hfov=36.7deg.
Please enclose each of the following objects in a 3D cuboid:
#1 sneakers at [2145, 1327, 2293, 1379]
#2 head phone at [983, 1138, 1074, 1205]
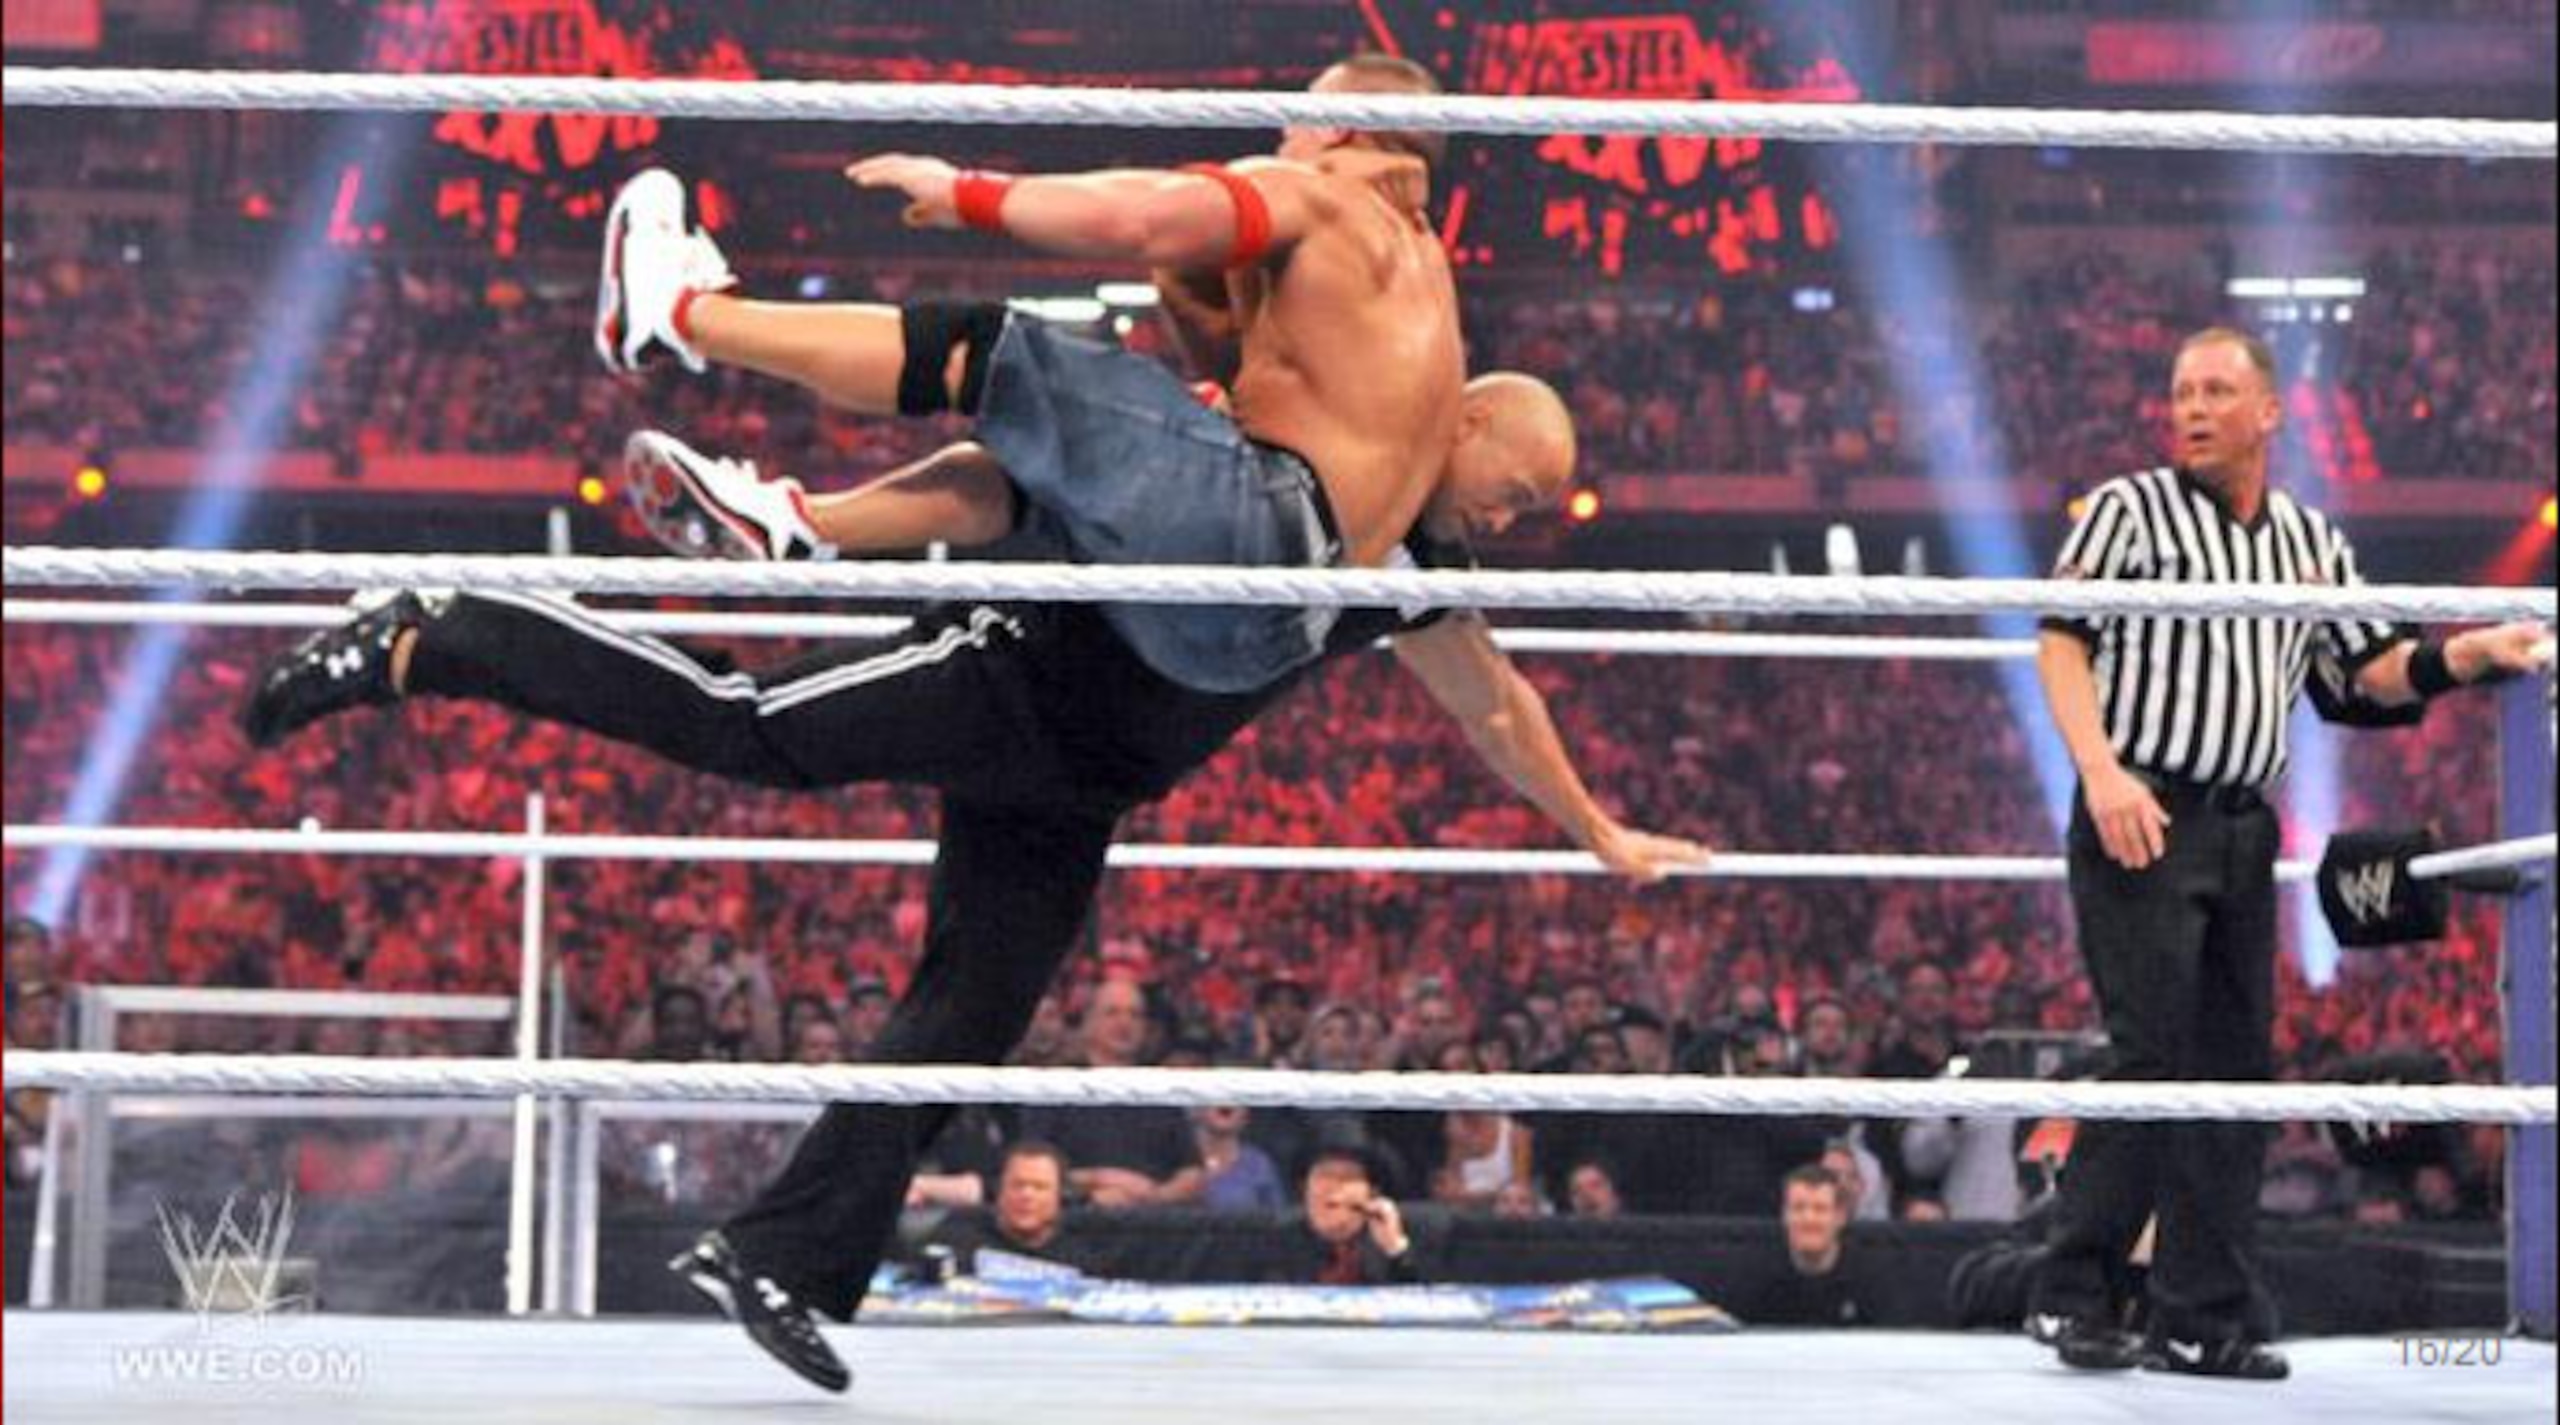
[{"bbox_3d":[3.166,2.206,13.210,0.541,0.159,0.164,0,-8,5],"label":"sneakers"},{"bbox_3d":[-0.928,1.709,14.429,0.299,0.248,0.309,2,-22,-4],"label":"head phone"}]
